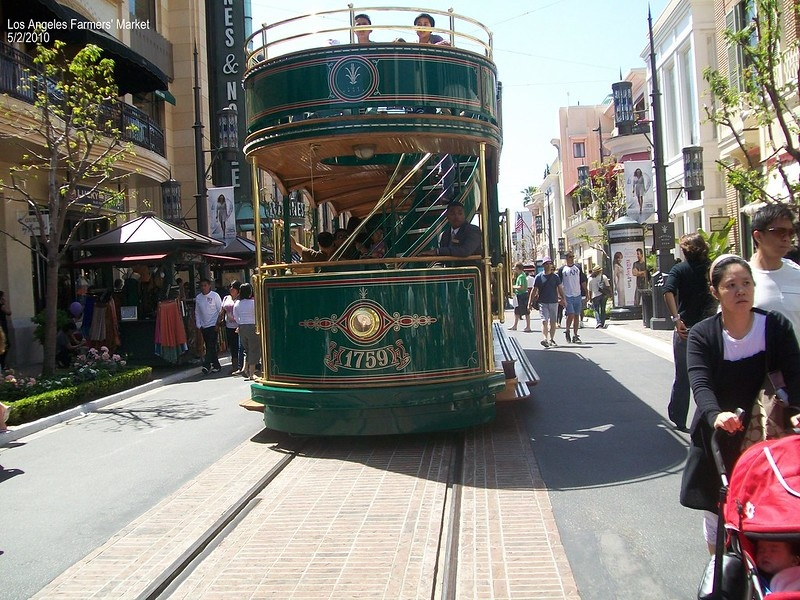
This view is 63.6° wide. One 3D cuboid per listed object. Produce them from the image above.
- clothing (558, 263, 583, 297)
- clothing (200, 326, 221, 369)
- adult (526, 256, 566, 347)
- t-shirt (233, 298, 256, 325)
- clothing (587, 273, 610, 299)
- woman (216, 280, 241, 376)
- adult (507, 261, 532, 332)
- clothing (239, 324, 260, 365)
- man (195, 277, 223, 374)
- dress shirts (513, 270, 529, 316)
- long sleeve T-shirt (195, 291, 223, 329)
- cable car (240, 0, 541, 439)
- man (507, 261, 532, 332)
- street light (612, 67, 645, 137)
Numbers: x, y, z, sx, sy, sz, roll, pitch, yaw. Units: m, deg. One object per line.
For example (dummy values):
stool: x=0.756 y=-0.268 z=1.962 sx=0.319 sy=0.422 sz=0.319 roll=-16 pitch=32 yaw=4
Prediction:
clothing: x=4.786 y=-0.559 z=18.104 sx=0.770 sy=1.045 sz=0.340 roll=-6 pitch=2 yaw=-26
clothing: x=-4.523 y=0.940 z=15.560 sx=0.277 sy=0.864 sz=0.500 roll=3 pitch=33 yaw=14
adult: x=4.087 y=0.038 z=17.910 sx=0.840 sy=2.488 sz=0.767 roll=-2 pitch=0 yaw=-21
t-shirt: x=-3.225 y=0.219 z=13.466 sx=0.470 sy=0.528 sz=0.282 roll=-3 pitch=-2 yaw=12
clothing: x=6.515 y=-0.483 z=21.200 sx=0.565 sy=0.789 sz=0.729 roll=0 pitch=4 yaw=26
woman: x=-4.027 y=0.712 z=15.659 sx=0.616 sy=2.230 sz=0.539 roll=2 pitch=16 yaw=-1
adult: x=4.440 y=-0.182 z=23.845 sx=0.668 sy=2.317 sz=0.586 roll=1 pitch=9 yaw=28
clothing: x=-3.301 y=0.919 z=13.691 sx=0.275 sy=0.913 sz=0.413 roll=6 pitch=1 yaw=19
man: x=-4.601 y=0.615 z=15.582 sx=0.577 sy=2.260 sz=0.807 roll=-4 pitch=7 yaw=-17
dress shirts: x=4.477 y=-0.091 z=23.775 sx=0.512 sy=1.791 sz=0.766 roll=-4 pitch=-1 yaw=8
long sleeve T-shirt: x=-4.648 y=0.224 z=15.676 sx=0.783 sy=1.077 sz=0.539 roll=-1 pitch=-11 yaw=-9
cable car: x=-0.224 y=-0.826 z=8.669 sx=3.089 sy=4.448 sz=7.016 roll=-3 pitch=1 yaw=4
man: x=4.426 y=-0.204 z=23.865 sx=0.685 sy=2.257 sz=0.573 roll=2 pitch=16 yaw=27
street light: x=11.671 y=-10.344 z=33.872 sx=0.994 sy=2.959 sz=1.033 roll=-3 pitch=12 yaw=43
